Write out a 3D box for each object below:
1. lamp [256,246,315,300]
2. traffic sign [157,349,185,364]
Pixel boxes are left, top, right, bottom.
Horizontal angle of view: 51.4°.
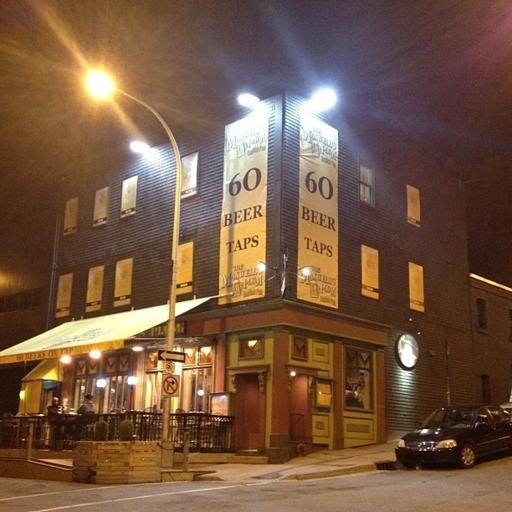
[{"bbox_3d":[1.145,0.654,20.082,1.984,1.808,1.442,0,-3,2],"label":"lamp"},{"bbox_3d":[-2.289,2.704,14.595,0.628,0.391,1.267,2,-20,-4],"label":"traffic sign"}]
